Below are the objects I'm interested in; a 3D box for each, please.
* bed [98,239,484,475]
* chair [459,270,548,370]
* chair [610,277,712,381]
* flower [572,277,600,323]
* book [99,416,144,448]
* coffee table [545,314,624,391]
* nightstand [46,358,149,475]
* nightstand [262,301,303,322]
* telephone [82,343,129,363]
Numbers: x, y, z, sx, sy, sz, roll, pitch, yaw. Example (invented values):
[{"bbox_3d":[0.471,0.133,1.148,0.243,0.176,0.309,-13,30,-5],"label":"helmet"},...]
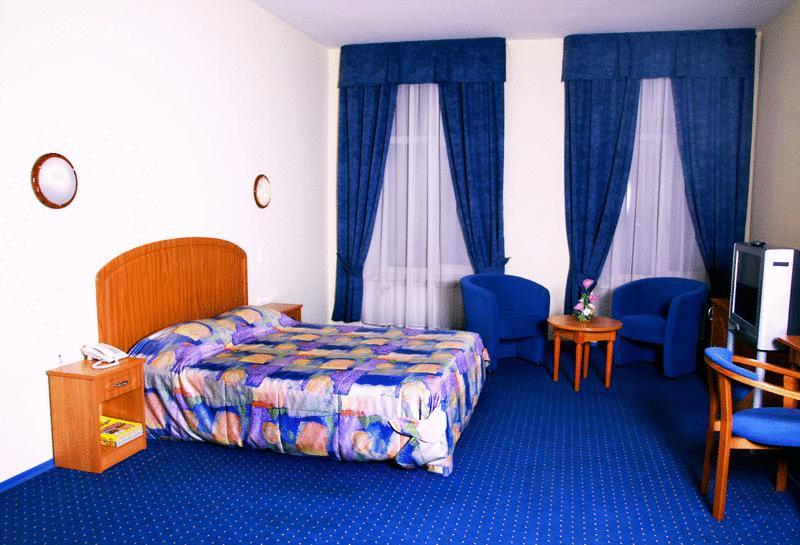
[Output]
[{"bbox_3d":[-0.978,0.777,5.064,2.523,1.412,2.058,3,10,16],"label":"bed"},{"bbox_3d":[1.264,0.585,6.808,0.961,1.066,0.974,-1,6,-8],"label":"chair"},{"bbox_3d":[3.034,0.591,6.585,0.868,1.022,0.870,7,9,43],"label":"chair"},{"bbox_3d":[2.066,0.318,6.156,0.245,0.478,0.318,-2,13,-5],"label":"flower"},{"bbox_3d":[-2.302,1.301,4.547,0.254,0.067,0.261,5,6,25],"label":"book"},{"bbox_3d":[1.981,0.882,6.132,0.661,0.653,0.714,2,5,29],"label":"coffee table"},{"bbox_3d":[-2.462,1.113,4.556,0.498,0.759,0.581,4,10,7],"label":"nightstand"},{"bbox_3d":[-1.339,0.388,6.526,0.219,0.355,0.358,2,5,15],"label":"nightstand"},{"bbox_3d":[-2.402,0.636,4.489,0.264,0.089,0.171,4,15,7],"label":"telephone"}]
